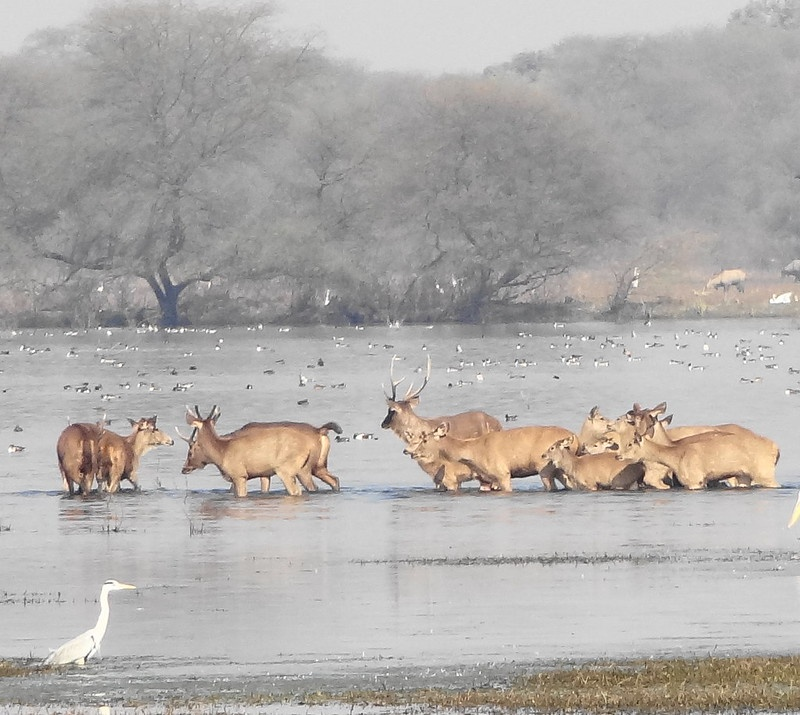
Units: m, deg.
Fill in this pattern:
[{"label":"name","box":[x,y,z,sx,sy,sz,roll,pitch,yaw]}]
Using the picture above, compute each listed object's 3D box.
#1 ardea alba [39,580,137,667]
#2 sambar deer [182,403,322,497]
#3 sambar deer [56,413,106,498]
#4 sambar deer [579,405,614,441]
[{"label":"ardea alba","box":[-3.034,2.676,23.722,1.145,1.357,0.437,2,4,-26]},{"label":"sambar deer","box":[-1.951,1.430,34.024,2.135,1.757,0.940,0,-4,7]},{"label":"sambar deer","box":[-4.499,1.457,33.917,0.633,1.028,1.010,1,1,-8]},{"label":"sambar deer","box":[2.826,0.932,34.678,0.280,0.510,0.697,14,58,8]}]
